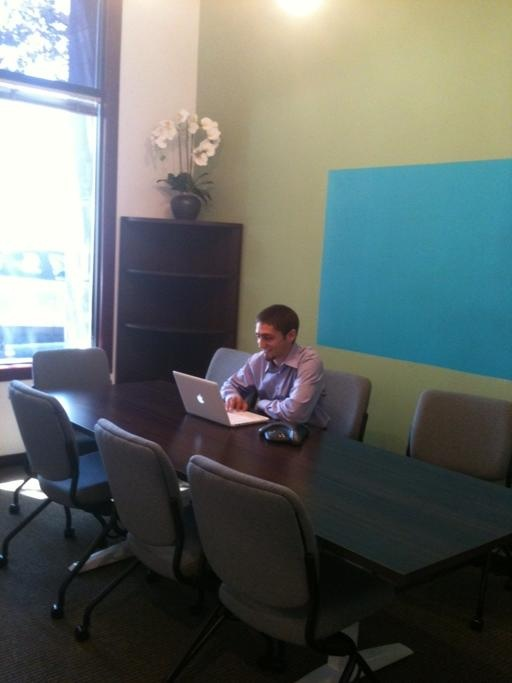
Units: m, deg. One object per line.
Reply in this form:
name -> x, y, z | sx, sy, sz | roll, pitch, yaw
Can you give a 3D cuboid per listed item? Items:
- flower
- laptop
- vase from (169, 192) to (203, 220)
flower -> -0.635, -1.515, 4.257 | 0.387, 0.556, 0.374 | -3, 11, -4
laptop -> -0.160, 0.232, 2.273 | 0.325, 0.210, 0.297 | 7, 11, 42
vase -> -0.550, -1.044, 4.271 | 0.227, 0.239, 0.232 | 1, 3, 19
